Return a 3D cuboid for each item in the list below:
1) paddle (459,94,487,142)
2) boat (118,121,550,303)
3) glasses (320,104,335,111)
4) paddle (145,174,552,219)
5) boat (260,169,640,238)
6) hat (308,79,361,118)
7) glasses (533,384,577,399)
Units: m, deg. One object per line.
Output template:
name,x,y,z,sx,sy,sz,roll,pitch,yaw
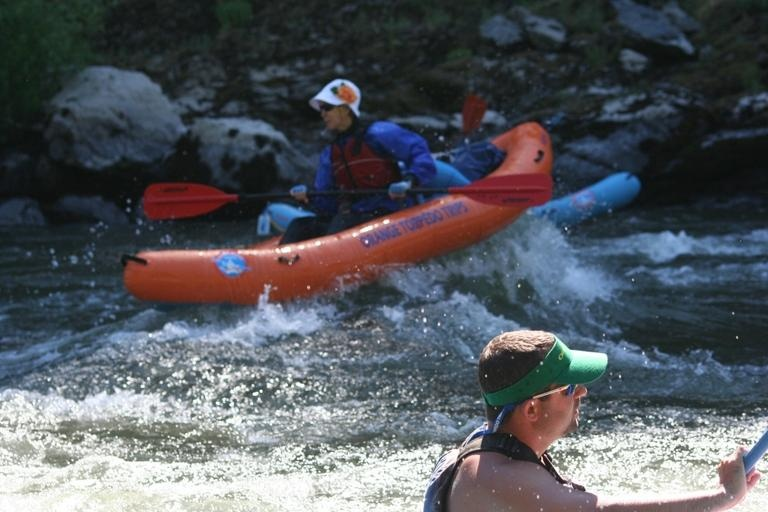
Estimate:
paddle,1.073,-1.715,16.325,0.241,0.089,0.673,10,-33,-4
boat,-0.455,-0.172,14.717,4.146,0.856,1.890,-20,8,-18
glasses,-0.623,-1.621,14.739,0.101,0.037,0.100,13,19,35
paddle,-0.875,-0.648,15.129,3.688,0.534,0.274,0,15,2
boat,1.375,-0.668,15.823,3.157,0.469,1.562,-13,0,-23
hat,-0.513,-1.759,14.881,0.525,0.273,0.384,12,-7,-11
glasses,1.501,1.146,11.646,0.240,0.066,0.170,-12,-6,-4
